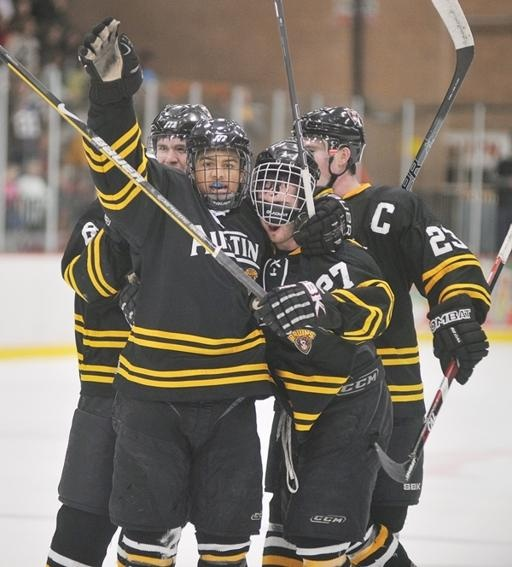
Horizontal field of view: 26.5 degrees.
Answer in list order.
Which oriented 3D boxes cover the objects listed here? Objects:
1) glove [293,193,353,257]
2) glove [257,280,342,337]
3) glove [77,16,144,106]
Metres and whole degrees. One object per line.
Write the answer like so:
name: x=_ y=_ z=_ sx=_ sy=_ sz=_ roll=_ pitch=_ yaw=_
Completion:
glove: x=0.185 y=-0.157 z=2.926 sx=0.127 sy=0.158 sz=0.171 roll=5 pitch=26 yaw=45
glove: x=0.098 y=0.035 z=2.815 sx=0.228 sy=0.062 sz=0.136 roll=-16 pitch=14 yaw=-5
glove: x=-0.368 y=-0.550 z=2.729 sx=0.124 sy=0.197 sz=0.148 roll=4 pitch=6 yaw=14
